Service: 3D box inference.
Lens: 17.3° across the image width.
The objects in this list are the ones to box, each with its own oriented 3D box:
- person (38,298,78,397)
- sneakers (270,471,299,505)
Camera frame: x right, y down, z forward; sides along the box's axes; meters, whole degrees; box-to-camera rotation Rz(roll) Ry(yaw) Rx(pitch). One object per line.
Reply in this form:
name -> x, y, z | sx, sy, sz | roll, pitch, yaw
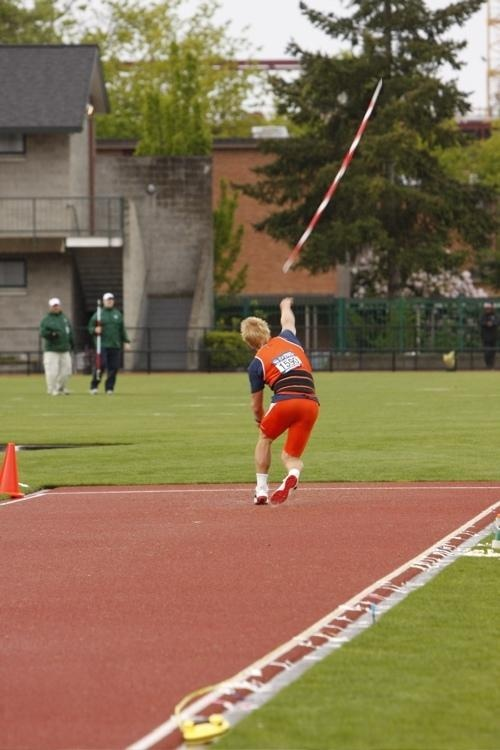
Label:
person -> -2.824, -0.401, 23.768 | 0.443, 1.423, 0.805 | 0, 3, -7
sneakers -> 0.219, 0.741, 10.691 | 0.068, 0.218, 0.094 | 31, -6, 3
